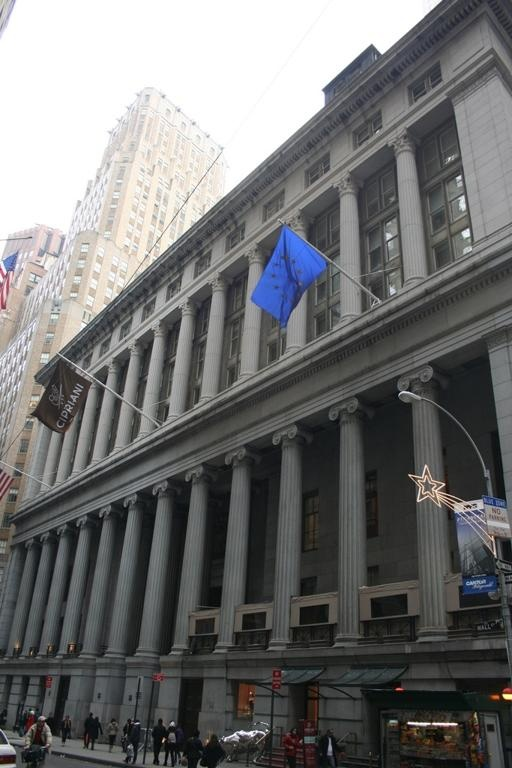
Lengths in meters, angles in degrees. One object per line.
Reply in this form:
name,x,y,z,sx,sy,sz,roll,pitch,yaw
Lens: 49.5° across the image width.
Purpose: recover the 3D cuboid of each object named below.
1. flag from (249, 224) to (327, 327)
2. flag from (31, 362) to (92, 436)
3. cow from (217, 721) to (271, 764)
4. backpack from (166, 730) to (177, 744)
flag,1.314,-4.355,22.888,1.822,3.589,2.242,21,-34,-28
flag,-12.206,0.463,35.257,2.497,4.964,1.619,16,-31,-20
cow,-0.312,13.788,21.399,1.303,1.367,2.509,18,-33,-24
backpack,-3.215,13.574,21.321,0.416,0.520,0.299,5,-50,-14
